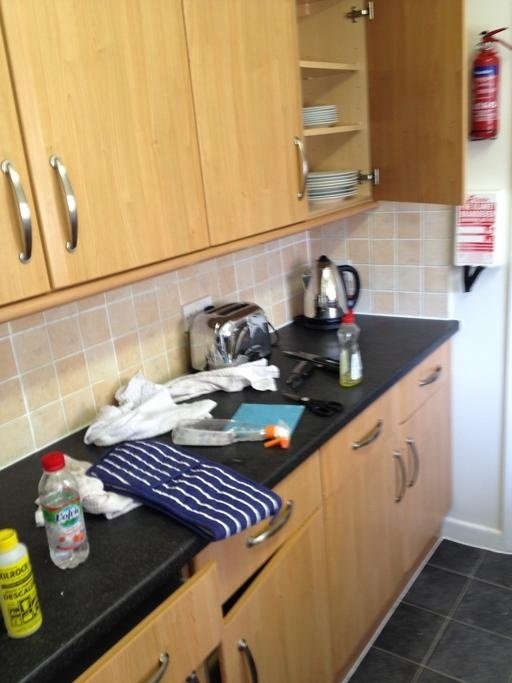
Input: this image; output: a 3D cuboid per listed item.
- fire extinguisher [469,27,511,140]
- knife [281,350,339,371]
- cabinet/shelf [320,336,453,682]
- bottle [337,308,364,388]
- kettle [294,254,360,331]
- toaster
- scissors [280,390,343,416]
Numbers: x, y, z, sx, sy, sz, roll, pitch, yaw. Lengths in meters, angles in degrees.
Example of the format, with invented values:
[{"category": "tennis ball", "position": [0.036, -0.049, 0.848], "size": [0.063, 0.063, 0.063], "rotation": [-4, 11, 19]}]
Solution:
[{"category": "fire extinguisher", "position": [0.743, -0.816, 1.656], "size": [0.094, 0.320, 0.137], "rotation": [-12, 14, -20]}, {"category": "knife", "position": [0.184, 0.047, 1.645], "size": [0.054, 0.030, 0.254], "rotation": [-22, 25, -38]}, {"category": "cabinet/shelf", "position": [0.391, 0.517, 1.586], "size": [0.368, 0.708, 0.744], "rotation": [12, 35, 32]}, {"category": "bottle", "position": [0.260, 0.013, 1.460], "size": [0.068, 0.211, 0.135], "rotation": [-4, 13, 10]}, {"category": "kettle", "position": [0.242, -0.236, 2.041], "size": [0.278, 0.327, 0.234], "rotation": [-4, 34, 0]}, {"category": "toaster", "position": [-0.072, -0.015, 1.654], "size": [0.153, 0.177, 0.277], "rotation": [14, 27, 35]}, {"category": "scissors", "position": [0.139, 0.157, 1.347], "size": [0.051, 0.016, 0.131], "rotation": [-18, 21, -39]}]
